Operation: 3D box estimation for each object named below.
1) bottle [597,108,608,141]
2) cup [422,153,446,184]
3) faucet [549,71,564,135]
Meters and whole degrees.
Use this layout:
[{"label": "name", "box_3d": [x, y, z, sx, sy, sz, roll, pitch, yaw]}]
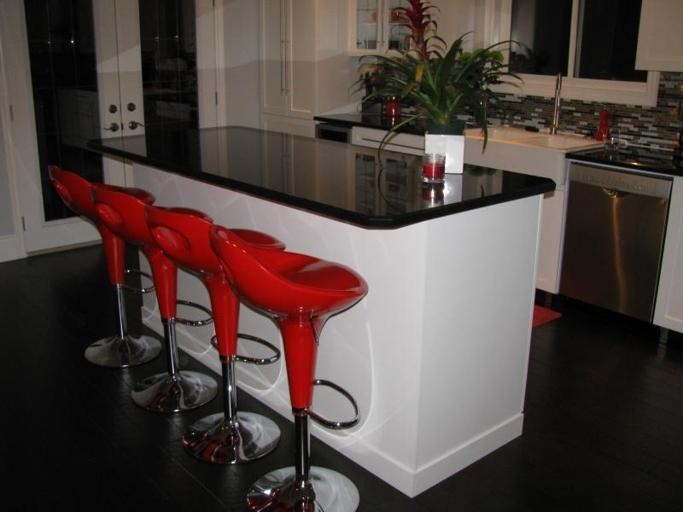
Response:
[{"label": "bottle", "box_3d": [2.082, -1.047, 4.276, 0.082, 0.244, 0.190, 7, 18, 24]}, {"label": "cup", "box_3d": [0.431, -0.414, 2.512, 0.096, 0.129, 0.149, 2, 17, 7]}, {"label": "faucet", "box_3d": [1.826, -1.288, 4.564, 0.070, 0.491, 0.193, 5, 17, 19]}]
